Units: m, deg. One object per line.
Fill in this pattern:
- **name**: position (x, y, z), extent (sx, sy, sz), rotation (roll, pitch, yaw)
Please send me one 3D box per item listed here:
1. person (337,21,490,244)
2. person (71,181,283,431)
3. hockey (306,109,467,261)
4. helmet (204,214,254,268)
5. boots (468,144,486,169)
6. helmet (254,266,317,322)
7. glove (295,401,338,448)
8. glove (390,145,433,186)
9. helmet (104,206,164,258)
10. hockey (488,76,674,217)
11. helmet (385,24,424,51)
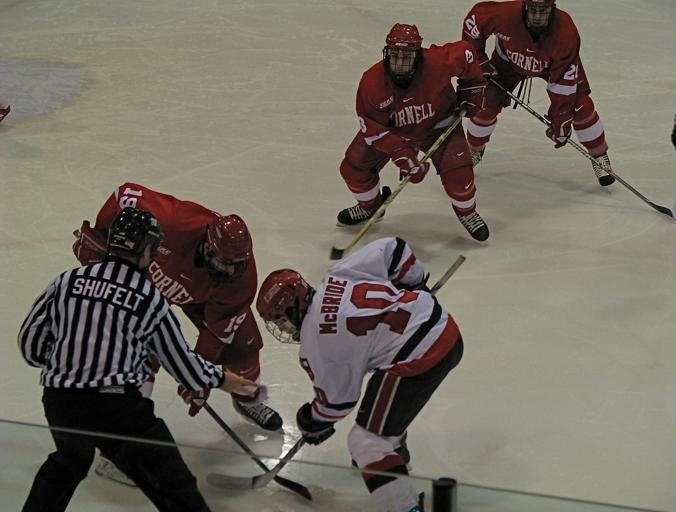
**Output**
- **person**: position (0.501, -0.766, 6.063), extent (0.986, 1.424, 0.572), rotation (1, 36, -1)
- **person**: position (-0.806, 0.311, 4.777), extent (1.013, 1.323, 0.907), rotation (-16, 61, -23)
- **hockey**: position (0.357, -0.438, 6.261), extent (0.148, 1.523, 0.228), rotation (54, 20, 21)
- **helmet**: position (-0.544, -0.071, 4.798), extent (0.250, 0.245, 0.254), rotation (-2, 71, -25)
- **boots**: position (1.024, -0.741, 6.927), extent (0.210, 0.191, 0.234), rotation (0, 13, 5)
- **helmet**: position (-0.253, 0.184, 4.630), extent (0.270, 0.279, 0.210), rotation (53, 10, -9)
- **glove**: position (-0.135, 0.873, 4.789), extent (0.239, 0.190, 0.171), rotation (-14, 60, -23)
- **glove**: position (0.510, -0.593, 6.075), extent (0.247, 0.243, 0.112), rotation (43, 33, 2)
- **helmet**: position (-0.931, -0.114, 4.327), extent (0.201, 0.213, 0.246), rotation (11, -2, -3)
- **hockey**: position (1.758, -0.758, 6.873), extent (1.803, 0.269, 0.119), rotation (35, 42, -9)
- **helmet**: position (0.398, -1.343, 5.739), extent (0.192, 0.174, 0.204), rotation (4, 36, 7)
